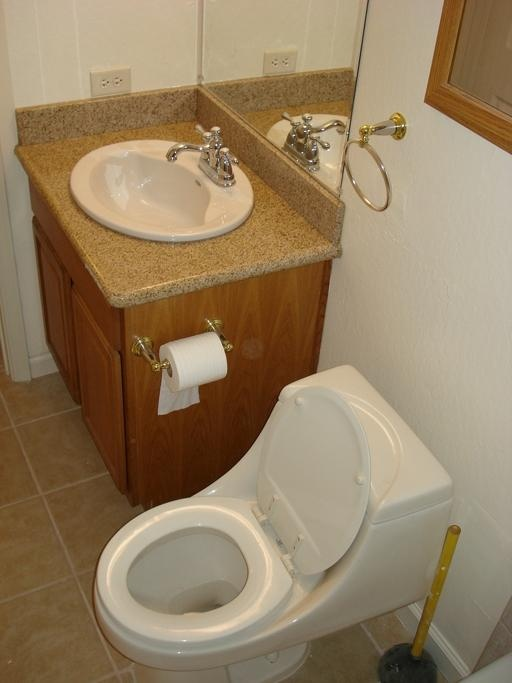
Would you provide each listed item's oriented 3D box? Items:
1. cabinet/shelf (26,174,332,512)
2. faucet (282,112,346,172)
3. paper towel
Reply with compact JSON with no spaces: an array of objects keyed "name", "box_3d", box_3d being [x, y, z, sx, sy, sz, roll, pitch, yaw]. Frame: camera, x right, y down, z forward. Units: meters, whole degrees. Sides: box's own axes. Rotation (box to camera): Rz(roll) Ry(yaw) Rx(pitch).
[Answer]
[{"name":"cabinet/shelf","box_3d":[-0.311,-0.075,1.583,0.515,0.761,0.778,-16,44,-31]},{"name":"faucet","box_3d":[0.129,-0.456,1.224,0.103,0.068,0.153,-20,59,-19]},{"name":"paper towel","box_3d":[-0.140,0.064,1.175,0.130,0.180,0.103,-16,64,-23]}]
